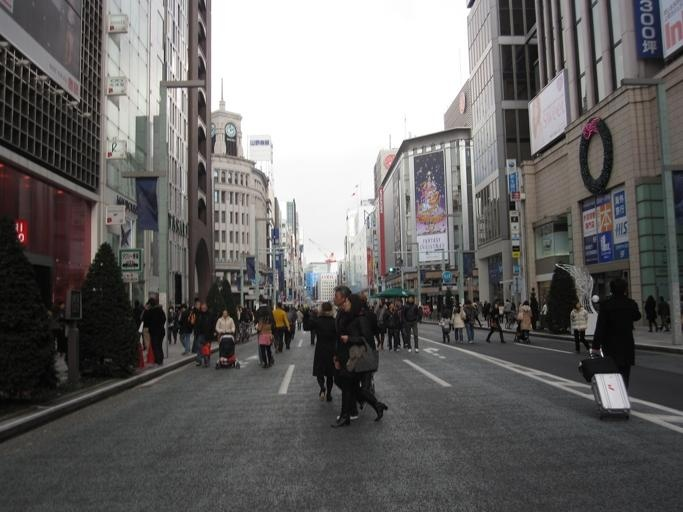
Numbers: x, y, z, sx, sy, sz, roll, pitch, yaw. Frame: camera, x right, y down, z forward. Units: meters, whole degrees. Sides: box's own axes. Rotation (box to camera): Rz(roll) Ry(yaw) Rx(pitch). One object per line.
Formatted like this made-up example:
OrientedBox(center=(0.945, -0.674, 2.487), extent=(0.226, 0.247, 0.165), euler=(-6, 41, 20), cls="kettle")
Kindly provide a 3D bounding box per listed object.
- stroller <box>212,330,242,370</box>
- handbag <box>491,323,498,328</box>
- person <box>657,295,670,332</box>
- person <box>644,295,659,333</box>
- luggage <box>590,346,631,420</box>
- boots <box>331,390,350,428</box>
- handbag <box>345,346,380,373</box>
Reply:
OrientedBox(center=(-3.839, 3.233, 19.690), extent=(0.653, 1.393, 1.211), euler=(0, -14, -4), cls="stroller")
OrientedBox(center=(7.161, 3.304, 27.569), extent=(0.240, 0.318, 0.148), euler=(-1, -15, 6), cls="handbag")
OrientedBox(center=(16.260, 2.927, 29.620), extent=(0.460, 1.678, 0.986), euler=(-7, -7, 29), cls="person")
OrientedBox(center=(16.073, 2.951, 30.428), extent=(0.633, 1.862, 3.015), euler=(-7, -8, 27), cls="person")
OrientedBox(center=(4.577, 2.157, 10.183), extent=(0.490, 1.525, 0.479), euler=(-1, -32, 4), cls="luggage")
OrientedBox(center=(-0.011, 2.609, 9.997), extent=(0.284, 0.573, 0.412), euler=(-6, -7, 14), cls="boots")
OrientedBox(center=(0.336, 1.795, 10.164), extent=(0.337, 0.497, 0.164), euler=(0, -7, -1), cls="handbag")
